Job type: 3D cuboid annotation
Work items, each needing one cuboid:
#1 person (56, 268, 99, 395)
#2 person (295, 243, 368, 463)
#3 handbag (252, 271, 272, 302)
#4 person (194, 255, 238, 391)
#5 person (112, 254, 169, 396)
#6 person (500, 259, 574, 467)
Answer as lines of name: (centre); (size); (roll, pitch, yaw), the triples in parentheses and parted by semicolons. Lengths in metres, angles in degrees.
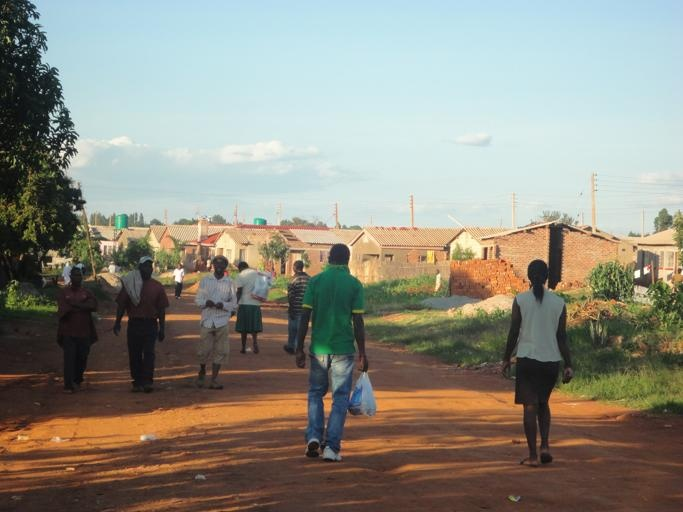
person: (-5.046, 1.351, 18.843); (0.531, 2.318, 0.833); (6, 9, 30)
person: (-0.171, 1.450, 15.355); (1.033, 3.197, 1.061); (1, 8, -4)
handbag: (-1.821, 0.710, 22.688); (0.390, 0.747, 0.945); (1, 8, 1)
person: (-2.420, 1.288, 19.033); (0.767, 2.522, 0.648); (-3, 9, -25)
person: (-3.802, 1.288, 18.960); (0.956, 2.480, 0.816); (-2, 8, -19)
person: (3.000, 1.632, 15.437); (0.998, 3.080, 0.788); (4, 9, 22)
